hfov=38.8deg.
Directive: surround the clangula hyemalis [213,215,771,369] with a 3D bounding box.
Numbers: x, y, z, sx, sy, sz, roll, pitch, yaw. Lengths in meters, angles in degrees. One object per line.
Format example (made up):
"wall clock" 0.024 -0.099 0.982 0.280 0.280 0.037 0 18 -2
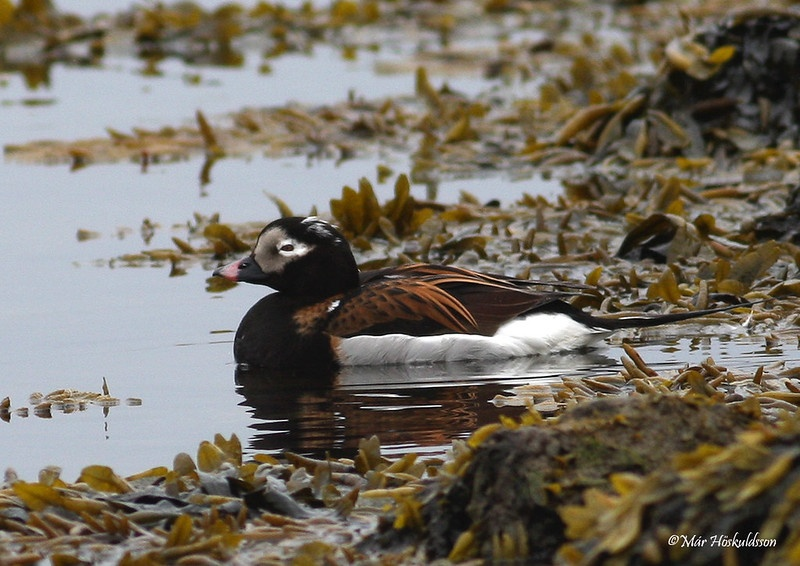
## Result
"clangula hyemalis" 0.132 0.185 7.880 4.420 0.989 1.547 -1 6 0
